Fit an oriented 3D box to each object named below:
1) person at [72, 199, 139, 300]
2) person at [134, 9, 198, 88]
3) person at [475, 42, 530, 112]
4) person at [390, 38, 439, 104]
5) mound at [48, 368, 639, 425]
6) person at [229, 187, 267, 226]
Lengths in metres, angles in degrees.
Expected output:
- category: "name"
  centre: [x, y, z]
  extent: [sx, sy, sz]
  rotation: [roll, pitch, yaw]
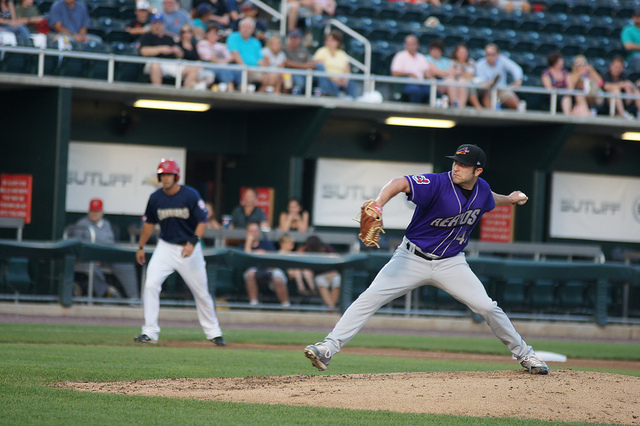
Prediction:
- category: "person"
  centre: [-4.136, 0.699, 29.228]
  extent: [1.105, 2.110, 0.878]
  rotation: [0, -9, 3]
- category: "person"
  centre: [-3.141, -3.300, 30.381]
  extent: [1.263, 1.513, 0.539]
  rotation: [2, 0, 1]
- category: "person"
  centre: [3.901, -2.880, 31.969]
  extent: [0.865, 1.701, 0.999]
  rotation: [4, 0, -27]
- category: "person"
  centre: [1.893, -2.997, 31.783]
  extent: [0.944, 1.540, 0.715]
  rotation: [3, 0, -6]
- category: "mound"
  centre: [1.197, 2.916, 23.839]
  extent: [7.773, 0.739, 1.118]
  rotation: [1, -1, 3]
- category: "person"
  centre: [-1.463, -0.078, 30.254]
  extent: [0.715, 0.736, 0.575]
  rotation: [2, -1, -3]
